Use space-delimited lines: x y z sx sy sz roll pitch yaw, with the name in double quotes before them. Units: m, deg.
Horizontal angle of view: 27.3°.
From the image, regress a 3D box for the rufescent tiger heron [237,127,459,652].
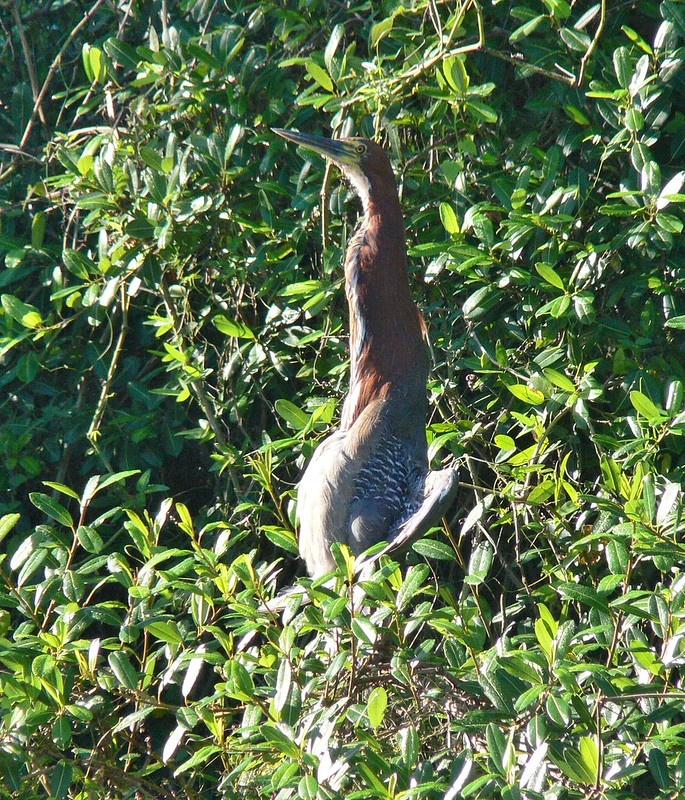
"rufescent tiger heron" 0.025 -0.067 3.822 0.438 0.848 1.103 -10 43 1
